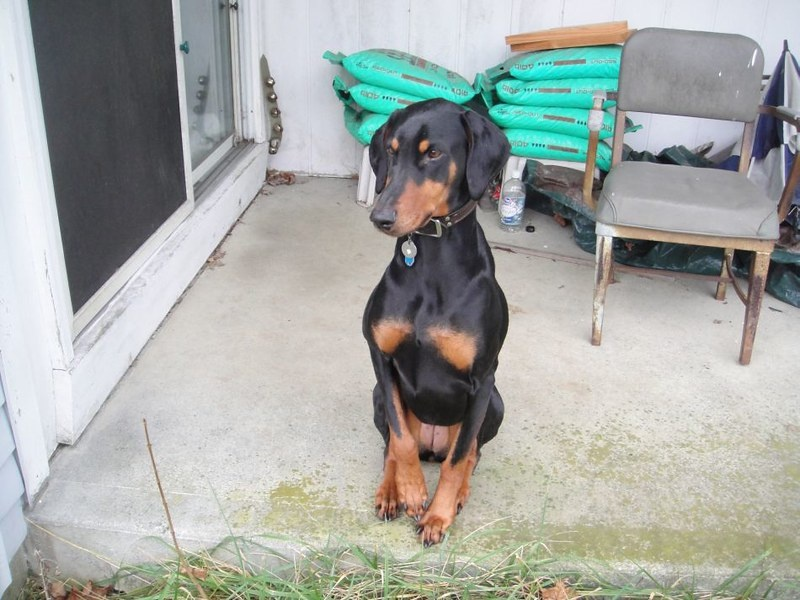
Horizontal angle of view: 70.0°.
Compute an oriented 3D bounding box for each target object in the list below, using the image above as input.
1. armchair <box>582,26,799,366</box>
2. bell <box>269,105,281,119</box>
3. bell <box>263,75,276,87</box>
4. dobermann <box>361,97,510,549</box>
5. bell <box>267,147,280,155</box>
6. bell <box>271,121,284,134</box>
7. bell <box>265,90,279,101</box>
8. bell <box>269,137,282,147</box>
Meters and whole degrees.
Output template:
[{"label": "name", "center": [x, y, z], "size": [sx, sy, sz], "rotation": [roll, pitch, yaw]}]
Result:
[{"label": "armchair", "center": [1.445, -0.550, 2.841], "size": [0.838, 1.438, 0.944], "rotation": [8, 26, 19]}, {"label": "bell", "center": [-0.975, -1.462, 4.473], "size": [0.086, 0.091, 0.054], "rotation": [-12, 27, -24]}, {"label": "bell", "center": [-0.997, -1.663, 4.365], "size": [0.069, 0.070, 0.092], "rotation": [13, 3, -22]}, {"label": "dobermann", "center": [0.102, 0.070, 1.754], "size": [0.461, 1.251, 0.547], "rotation": [5, 24, 11]}, {"label": "bell", "center": [-1.020, -1.183, 4.534], "size": [0.043, 0.058, 0.051], "rotation": [-3, 39, 1]}, {"label": "bell", "center": [-0.969, -1.348, 4.507], "size": [0.087, 0.072, 0.032], "rotation": [2, -1, 29]}, {"label": "bell", "center": [-0.994, -1.570, 4.432], "size": [0.073, 0.076, 0.043], "rotation": [-13, 27, -26]}, {"label": "bell", "center": [-0.980, -1.231, 4.503], "size": [0.060, 0.080, 0.082], "rotation": [0, 53, -3]}]
